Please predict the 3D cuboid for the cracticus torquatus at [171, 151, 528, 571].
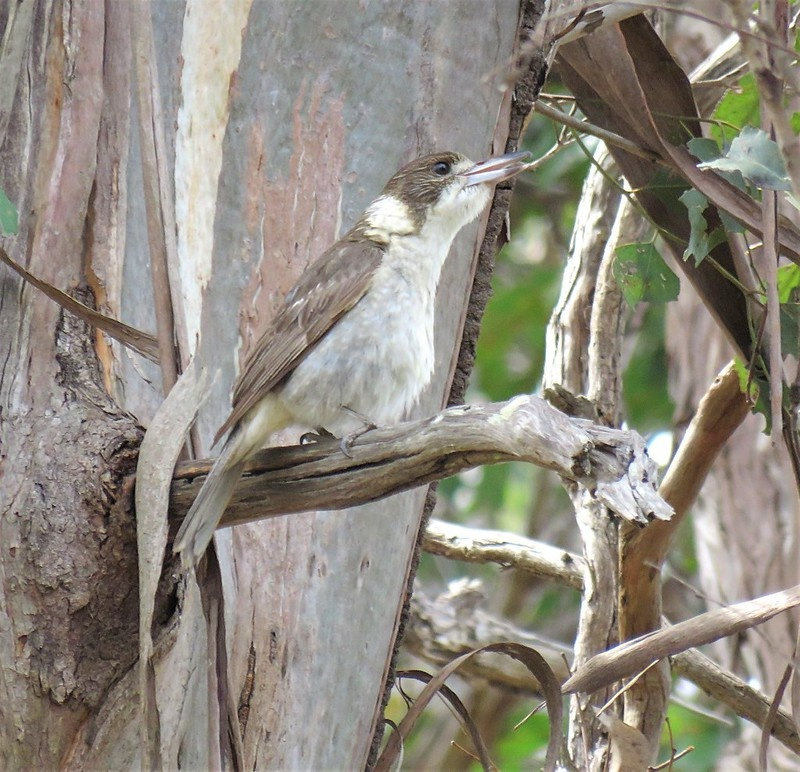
[{"bbox_3d":[-0.166,-0.125,5.199,1.123,1.222,0.373,9,-4,-39],"label":"cracticus torquatus"}]
